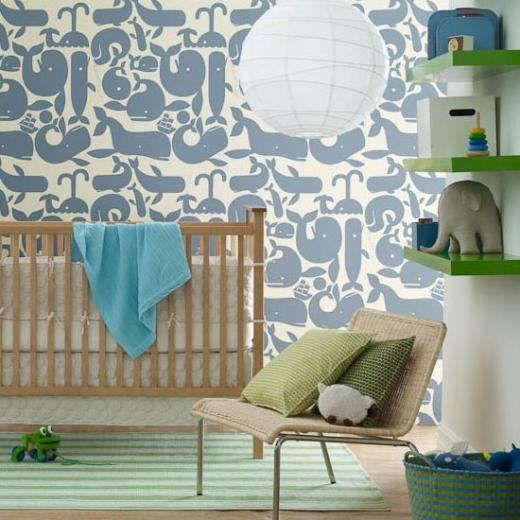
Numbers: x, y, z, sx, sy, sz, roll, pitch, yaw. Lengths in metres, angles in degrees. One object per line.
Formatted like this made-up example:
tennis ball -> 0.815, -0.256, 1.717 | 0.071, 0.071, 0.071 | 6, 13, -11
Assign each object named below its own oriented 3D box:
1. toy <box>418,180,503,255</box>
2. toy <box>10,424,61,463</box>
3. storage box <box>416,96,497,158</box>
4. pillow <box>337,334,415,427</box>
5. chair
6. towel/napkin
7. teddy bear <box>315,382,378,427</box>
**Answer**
toy -> 0.758, -0.141, 3.696 | 0.266, 0.251, 0.164 | -5, -8, -1
toy -> -0.927, 0.742, 4.160 | 0.197, 0.136, 0.135 | -5, -4, 30
storage box -> 0.723, -0.494, 3.707 | 0.252, 0.221, 0.246 | -1, 2, -3
pillow -> 0.424, 0.399, 3.712 | 0.093, 0.296, 0.307 | 30, -15, -26
chair -> 0.207, 0.548, 3.769 | 0.922, 0.690, 0.680 | 0, 10, -5
towel/napkin -> -0.539, 0.105, 4.118 | 0.540, 0.633, 0.091 | 0, -6, -3
teddy bear -> 0.306, 0.513, 3.595 | 0.204, 0.139, 0.086 | 2, 10, 6
